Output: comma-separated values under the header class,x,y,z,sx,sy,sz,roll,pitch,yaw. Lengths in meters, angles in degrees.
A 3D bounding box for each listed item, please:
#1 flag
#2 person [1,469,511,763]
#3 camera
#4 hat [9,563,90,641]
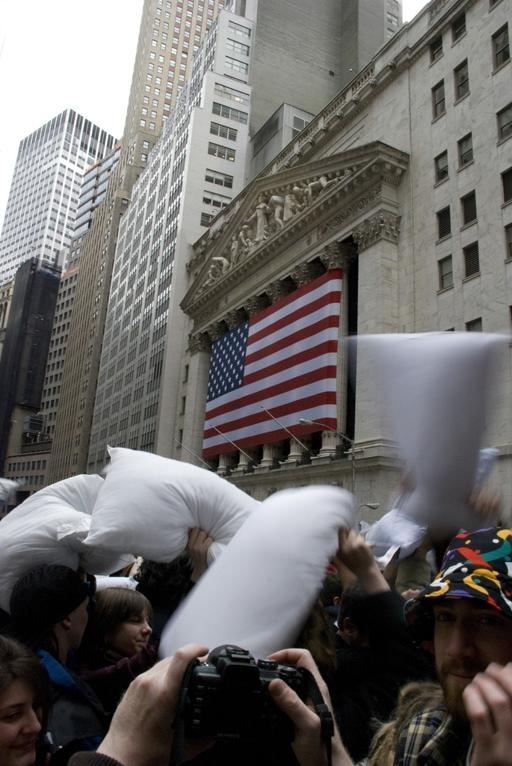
class,x,y,z,sx,sy,sz,roll,pitch,yaw
flag,0.868,-0.716,28.747,0.226,6.432,10.431,10,-17,-26
person,0.186,0.729,1.915,1.049,0.804,1.160,2,-8,9
camera,-0.056,0.734,1.473,0.230,0.144,0.240,6,5,-8
hat,-0.914,1.059,3.011,0.452,0.352,0.315,-6,-24,2
